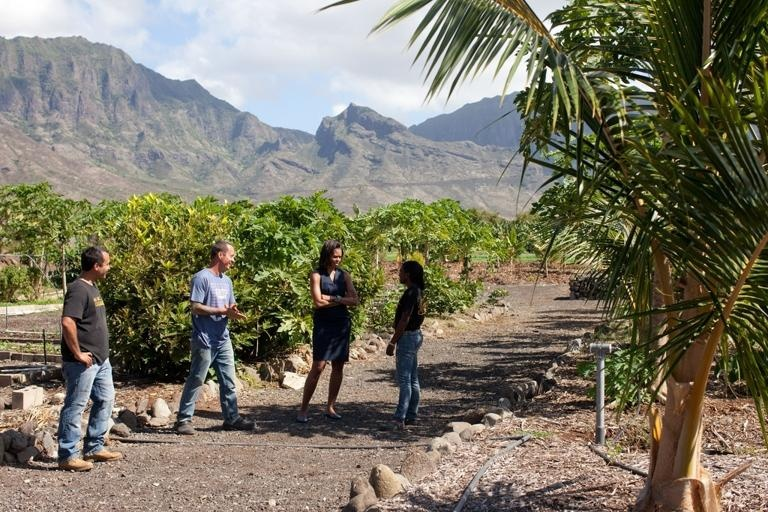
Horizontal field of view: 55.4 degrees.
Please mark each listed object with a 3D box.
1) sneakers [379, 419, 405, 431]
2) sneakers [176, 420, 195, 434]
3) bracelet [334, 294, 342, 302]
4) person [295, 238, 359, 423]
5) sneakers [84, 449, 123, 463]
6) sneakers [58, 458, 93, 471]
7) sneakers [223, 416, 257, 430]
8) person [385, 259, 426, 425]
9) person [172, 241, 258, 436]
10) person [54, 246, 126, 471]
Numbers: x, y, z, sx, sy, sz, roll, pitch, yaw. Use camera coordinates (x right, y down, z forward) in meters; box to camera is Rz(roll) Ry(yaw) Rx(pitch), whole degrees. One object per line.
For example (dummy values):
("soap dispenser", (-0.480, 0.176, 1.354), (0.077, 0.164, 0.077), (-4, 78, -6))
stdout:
("sneakers", (0.091, 1.829, 7.943), (0.266, 0.115, 0.124), (4, -8, -6))
("sneakers", (-2.070, 1.767, 7.590), (0.192, 0.132, 0.114), (3, -3, -16))
("bracelet", (-0.491, 0.444, 7.855), (0.058, 0.058, 0.023), (4, -30, 1))
("person", (-0.610, 0.808, 8.014), (0.611, 2.019, 0.560), (2, -2, -6))
("sneakers", (-2.631, 1.838, 6.843), (0.304, 0.150, 0.117), (0, 5, -13))
("sneakers", (-2.794, 1.885, 6.610), (0.306, 0.134, 0.121), (1, 7, -5))
("sneakers", (-1.549, 1.796, 7.866), (0.335, 0.148, 0.145), (0, 0, -2))
("person", (0.241, 0.928, 7.972), (0.355, 1.816, 0.665), (2, -2, 3))
("person", (-1.786, 0.828, 7.755), (0.752, 2.041, 0.426), (2, -2, -15))
("person", (-2.742, 0.921, 6.783), (0.555, 2.048, 0.309), (4, -3, -37))
